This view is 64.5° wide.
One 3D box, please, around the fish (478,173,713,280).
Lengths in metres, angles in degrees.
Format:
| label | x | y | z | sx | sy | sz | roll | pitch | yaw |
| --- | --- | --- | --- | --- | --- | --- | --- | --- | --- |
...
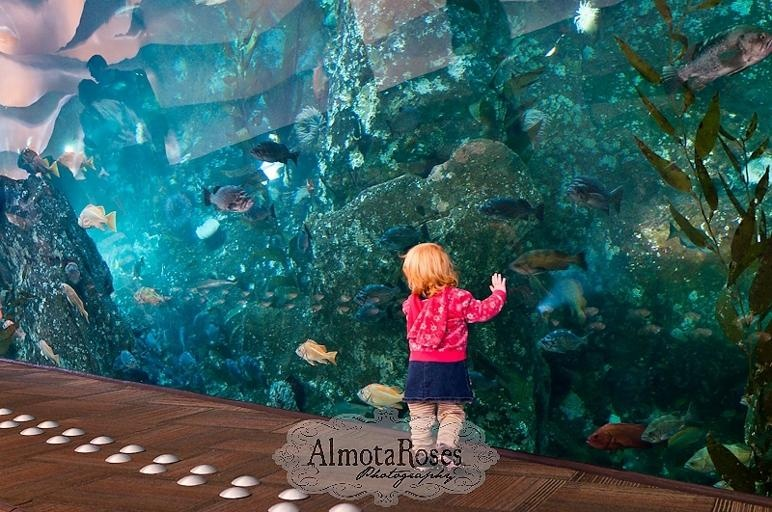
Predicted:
| label | x | y | z | sx | sy | sz | roll | pitch | yaw |
| --- | --- | --- | --- | --- | --- | --- | --- | --- | --- |
| fish | 1.364 | -0.241 | 5.173 | 1.159 | 0.851 | 0.375 | 5 | 13 | 18 |

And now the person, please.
| label | x | y | z | sx | sy | sz | roll | pitch | yaw |
| --- | --- | --- | --- | --- | --- | --- | --- | --- | --- |
| person | 0.450 | 0.671 | 4.212 | 0.688 | 1.404 | 0.665 | 2 | 13 | 2 |

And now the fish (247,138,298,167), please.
| label | x | y | z | sx | sy | sz | roll | pitch | yaw |
| --- | --- | --- | --- | --- | --- | --- | --- | --- | --- |
| fish | -1.090 | -1.005 | 5.976 | 0.457 | 0.216 | 0.262 | -1 | 13 | -8 |

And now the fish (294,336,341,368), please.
| label | x | y | z | sx | sy | sz | roll | pitch | yaw |
| --- | --- | --- | --- | --- | --- | --- | --- | --- | --- |
| fish | -0.670 | 0.942 | 6.002 | 0.535 | 0.285 | 0.161 | 16 | 5 | 24 |
